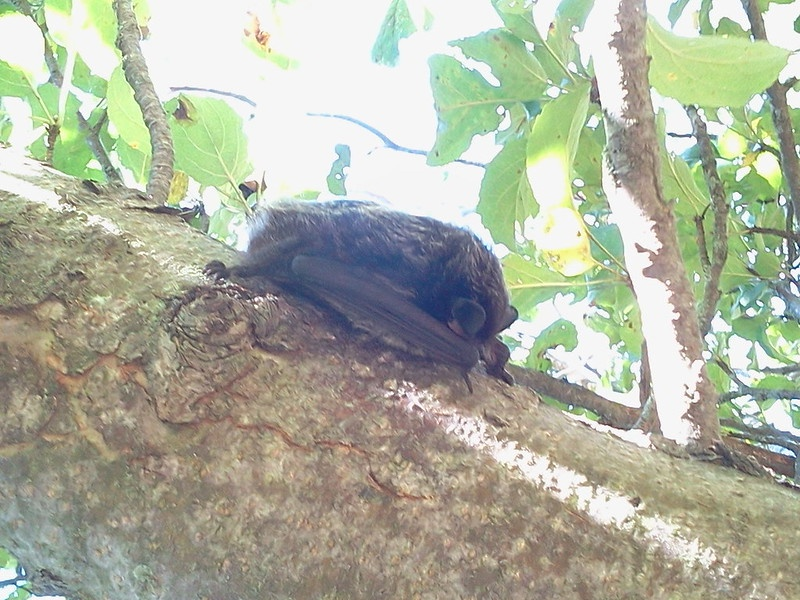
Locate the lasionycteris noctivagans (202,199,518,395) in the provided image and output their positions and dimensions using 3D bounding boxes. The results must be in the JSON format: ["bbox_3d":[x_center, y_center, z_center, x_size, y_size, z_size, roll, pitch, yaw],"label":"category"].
[{"bbox_3d":[-0.012,-0.058,3.703,0.960,0.334,0.669,33,-3,-2],"label":"lasionycteris noctivagans"}]
